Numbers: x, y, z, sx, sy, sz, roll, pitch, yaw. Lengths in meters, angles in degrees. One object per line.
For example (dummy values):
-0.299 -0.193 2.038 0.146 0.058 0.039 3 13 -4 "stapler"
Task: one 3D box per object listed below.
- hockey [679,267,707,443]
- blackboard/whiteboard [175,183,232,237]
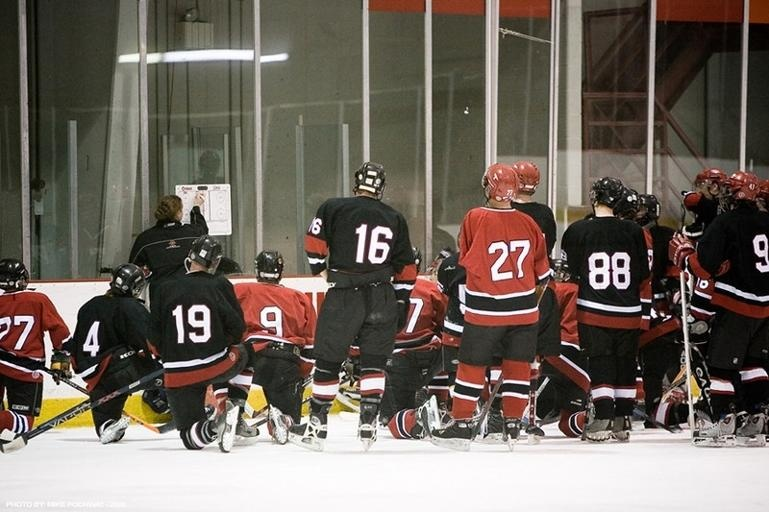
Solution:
2.814 0.865 10.608 0.303 1.716 0.273 5 -2 -29 "hockey"
-1.964 -0.505 12.382 0.643 0.574 0.055 0 -5 -22 "blackboard/whiteboard"
